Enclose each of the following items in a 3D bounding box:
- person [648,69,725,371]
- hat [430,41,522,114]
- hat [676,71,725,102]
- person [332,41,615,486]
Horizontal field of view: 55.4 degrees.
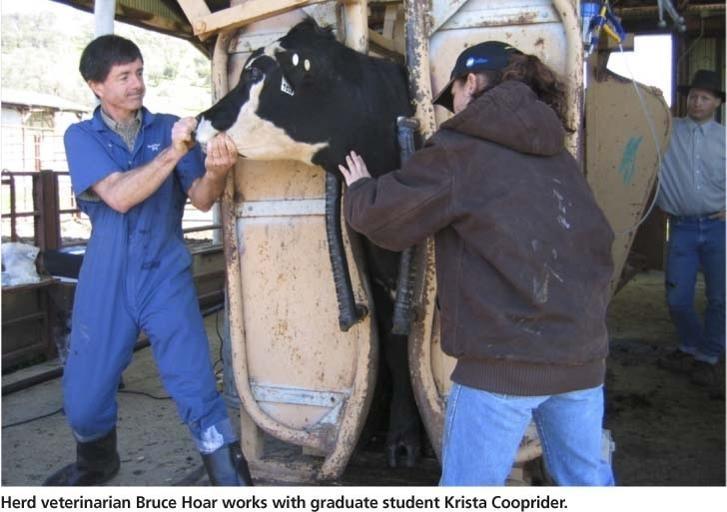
[{"bbox_3d":[2.865,-0.361,6.036,0.560,2.508,0.473,2,5,23],"label":"person"},{"bbox_3d":[0.519,-0.799,3.209,0.397,0.238,0.267,-12,5,27],"label":"hat"},{"bbox_3d":[3.027,-1.515,6.062,0.366,0.273,0.216,-1,5,-6],"label":"hat"},{"bbox_3d":[0.577,0.061,3.084,1.087,2.036,0.449,1,5,16],"label":"person"}]
